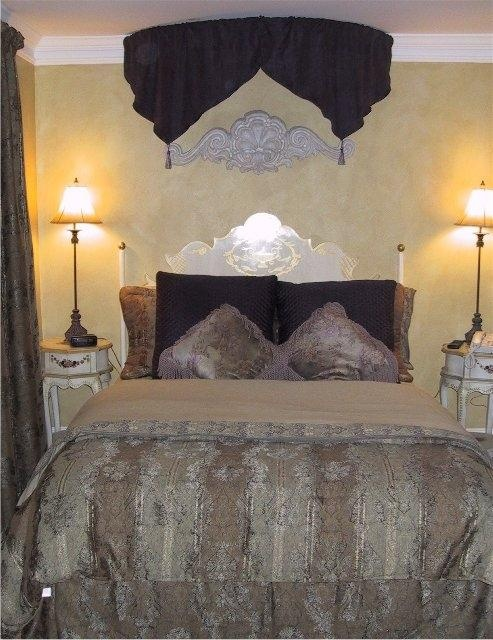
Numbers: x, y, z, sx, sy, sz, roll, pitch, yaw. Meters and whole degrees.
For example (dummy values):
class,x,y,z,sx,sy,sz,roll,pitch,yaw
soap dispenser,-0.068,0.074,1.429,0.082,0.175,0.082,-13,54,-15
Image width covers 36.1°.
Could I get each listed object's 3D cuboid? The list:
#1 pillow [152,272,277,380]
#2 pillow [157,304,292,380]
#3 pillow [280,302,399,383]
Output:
class,x,y,z,sx,sy,sz,roll,pitch,yaw
pillow,-0.196,0.059,3.805,0.542,0.493,0.145,-2,-7,-6
pillow,-0.152,0.085,3.559,0.511,0.113,0.630,26,37,28
pillow,0.372,0.075,3.587,0.458,0.157,0.530,-1,42,23
